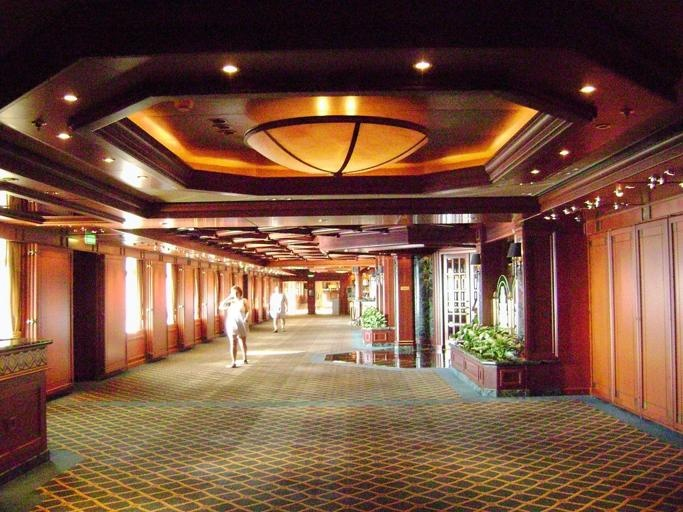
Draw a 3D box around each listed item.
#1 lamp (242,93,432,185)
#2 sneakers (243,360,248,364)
[{"bbox_3d":[-0.011,-1.136,5.307,1.621,0.340,1.653,5,-6,-42],"label":"lamp"},{"bbox_3d":[-2.400,2.623,11.990,0.127,0.094,0.077,2,0,35],"label":"sneakers"}]
